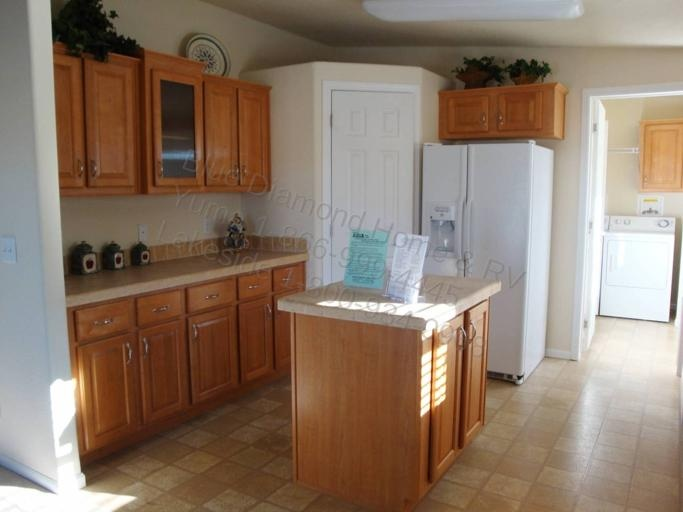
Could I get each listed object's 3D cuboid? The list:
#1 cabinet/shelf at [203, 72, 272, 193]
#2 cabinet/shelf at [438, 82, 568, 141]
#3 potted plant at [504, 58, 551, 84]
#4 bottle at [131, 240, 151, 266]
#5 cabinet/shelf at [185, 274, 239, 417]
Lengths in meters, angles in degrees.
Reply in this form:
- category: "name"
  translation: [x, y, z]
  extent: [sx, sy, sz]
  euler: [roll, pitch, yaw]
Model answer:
- category: "cabinet/shelf"
  translation: [-0.986, -1.031, 4.710]
  extent: [0.273, 0.928, 0.734]
  euler: [9, 12, 42]
- category: "cabinet/shelf"
  translation: [1.522, -1.375, 5.193]
  extent: [1.100, 0.508, 0.407]
  euler: [5, 14, 31]
- category: "potted plant"
  translation: [1.756, -1.722, 5.030]
  extent: [0.327, 0.175, 0.329]
  euler: [-2, 11, -12]
- category: "bottle"
  translation: [-1.605, -0.024, 4.241]
  extent: [0.139, 0.161, 0.176]
  euler: [2, 13, 9]
- category: "cabinet/shelf"
  translation: [-0.987, 0.628, 4.137]
  extent: [0.130, 0.880, 0.531]
  euler: [8, 16, 31]
